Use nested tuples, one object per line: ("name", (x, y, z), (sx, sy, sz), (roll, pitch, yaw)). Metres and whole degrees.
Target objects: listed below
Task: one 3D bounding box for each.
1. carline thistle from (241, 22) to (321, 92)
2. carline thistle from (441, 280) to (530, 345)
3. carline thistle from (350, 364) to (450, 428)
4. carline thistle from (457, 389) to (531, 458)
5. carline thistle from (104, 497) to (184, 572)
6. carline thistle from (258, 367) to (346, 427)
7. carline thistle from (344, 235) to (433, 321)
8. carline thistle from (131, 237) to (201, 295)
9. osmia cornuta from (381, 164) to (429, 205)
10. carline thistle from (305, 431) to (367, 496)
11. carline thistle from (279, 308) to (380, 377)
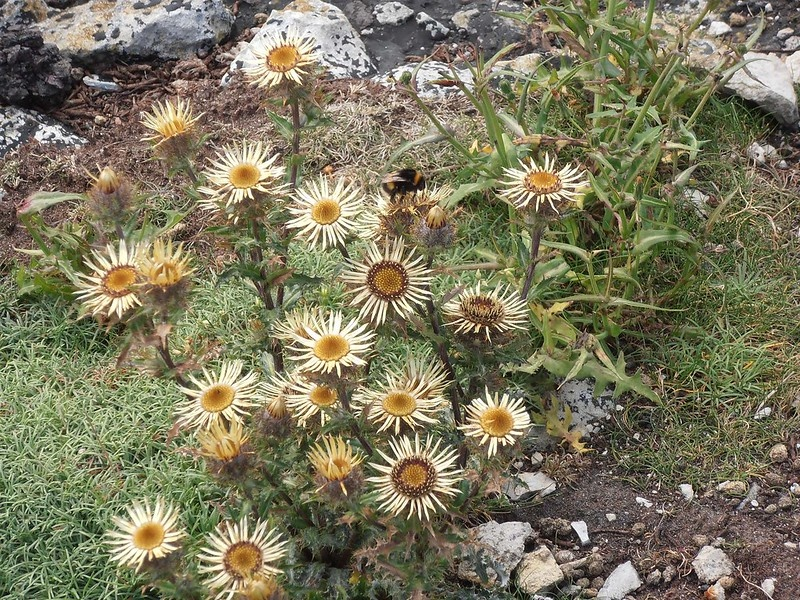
("carline thistle", (-0.564, -1.130, 3.777), (0.359, 0.249, 0.356), (-5, 73, -2))
("carline thistle", (0.401, 0.097, 3.821), (0.392, 0.185, 0.354), (22, 30, 37))
("carline thistle", (-0.003, 0.518, 3.727), (0.416, 0.164, 0.434), (13, 22, 35))
("carline thistle", (0.442, 0.556, 3.635), (0.295, 0.159, 0.260), (-22, 74, -7))
("carline thistle", (-1.202, 1.106, 3.694), (0.346, 0.151, 0.353), (-19, 50, 2))
("carline thistle", (-0.460, 0.456, 3.695), (0.302, 0.304, 0.149), (25, 60, -15))
("carline thistle", (-0.059, -0.105, 3.656), (0.347, 0.367, 0.145), (-8, 85, -24))
("carline thistle", (-1.087, -0.114, 3.609), (0.260, 0.269, 0.197), (-1, 107, -28))
("osmia cornuta", (0.025, -0.587, 3.990), (0.170, 0.201, 0.095), (-11, 107, -29))
("carline thistle", (-0.274, 0.730, 3.498), (0.248, 0.151, 0.255), (-11, 32, -15))
("carline thistle", (-0.321, 0.240, 3.546), (0.374, 0.142, 0.362), (-10, 35, -6))
